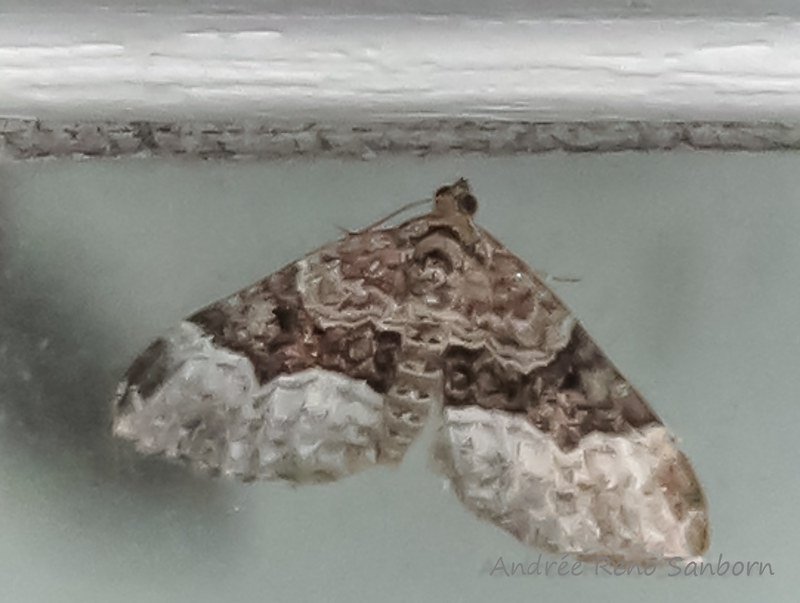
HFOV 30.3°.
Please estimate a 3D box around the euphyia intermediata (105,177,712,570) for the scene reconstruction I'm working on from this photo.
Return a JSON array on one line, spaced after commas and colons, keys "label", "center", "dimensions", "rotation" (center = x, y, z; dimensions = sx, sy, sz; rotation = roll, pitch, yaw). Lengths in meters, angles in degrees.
[{"label": "euphyia intermediata", "center": [0.087, 0.342, 7.449], "dimensions": [2.720, 0.166, 1.450], "rotation": [11, 82, 2]}]
